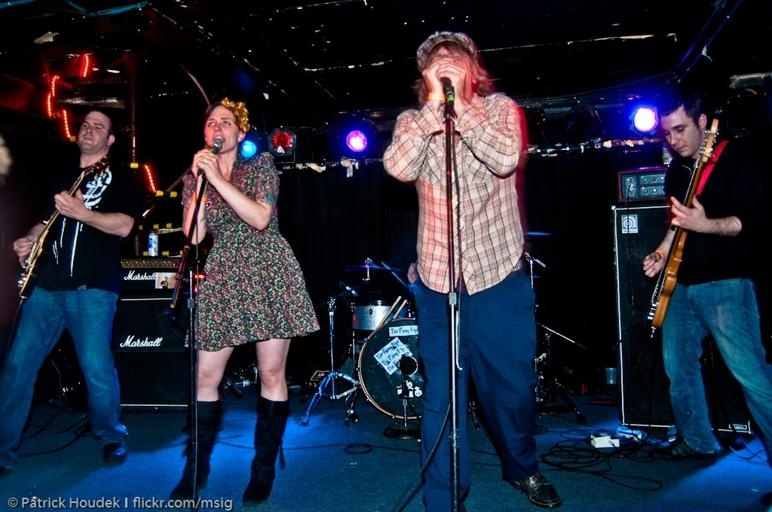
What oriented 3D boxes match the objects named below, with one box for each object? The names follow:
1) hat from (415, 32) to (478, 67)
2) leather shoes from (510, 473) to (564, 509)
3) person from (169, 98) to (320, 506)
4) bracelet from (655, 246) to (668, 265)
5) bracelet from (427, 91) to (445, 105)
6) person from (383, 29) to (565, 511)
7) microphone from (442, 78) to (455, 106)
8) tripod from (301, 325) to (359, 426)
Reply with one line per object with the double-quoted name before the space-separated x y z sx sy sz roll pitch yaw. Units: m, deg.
"hat" 0.451 -1.458 4.144 0.426 0.320 0.282 0 1 -8
"leather shoes" 1.092 1.758 4.452 0.199 0.177 0.435 -4 -1 -42
"person" -1.085 0.329 4.507 1.014 3.109 0.748 0 1 -20
"bracelet" 2.384 -0.008 5.139 0.095 0.086 0.091 -1 5 -11
"bracelet" 0.330 -1.031 3.881 0.071 0.069 0.074 3 0 -31
"person" 0.613 0.158 4.175 1.137 3.436 0.688 0 1 -33
"microphone" 0.394 -1.037 3.743 0.087 0.188 0.115 0 1 5
"tripod" -0.661 1.526 7.011 0.852 1.126 0.762 5 -7 -20
